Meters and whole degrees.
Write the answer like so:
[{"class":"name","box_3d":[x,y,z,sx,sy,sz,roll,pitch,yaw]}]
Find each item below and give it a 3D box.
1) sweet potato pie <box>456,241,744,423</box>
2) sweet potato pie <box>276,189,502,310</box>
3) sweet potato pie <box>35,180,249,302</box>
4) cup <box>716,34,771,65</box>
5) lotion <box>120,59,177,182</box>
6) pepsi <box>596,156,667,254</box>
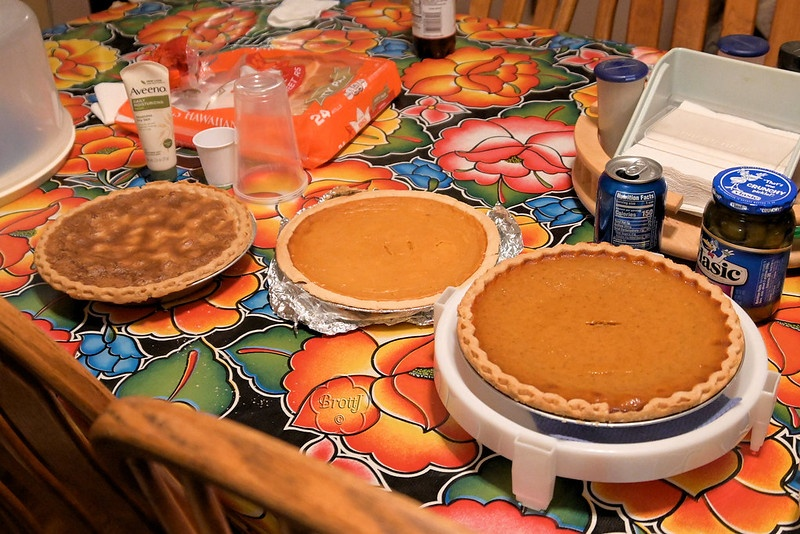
[{"class":"sweet potato pie","box_3d":[0.261,0.075,0.834,0.353,0.038,0.286,10,48,19]},{"class":"sweet potato pie","box_3d":[-0.018,-0.030,1.040,0.250,0.039,0.237,-16,41,-19]},{"class":"sweet potato pie","box_3d":[-0.413,-0.039,1.056,0.271,0.043,0.250,-5,41,-6]},{"class":"cup","box_3d":[0.652,-0.420,1.213,0.082,0.046,0.081,-4,40,3]},{"class":"lotion","box_3d":[-0.505,-0.289,1.285,0.064,0.251,0.096,17,31,38]},{"class":"pepsi","box_3d":[0.348,-0.091,0.947,0.083,0.135,0.080,13,49,21]}]
